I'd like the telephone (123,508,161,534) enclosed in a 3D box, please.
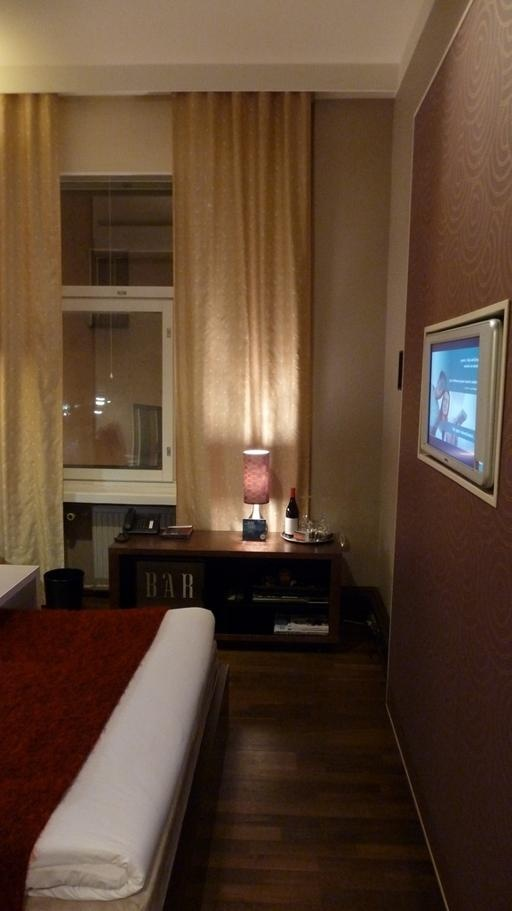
[{"bbox_3d":[-0.665,0.395,3.596,0.123,0.101,0.206,0,6,-3],"label":"telephone"}]

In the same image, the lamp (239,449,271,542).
[{"bbox_3d":[-0.001,0.223,3.514,0.162,0.496,0.261,0,4,0],"label":"lamp"}]
